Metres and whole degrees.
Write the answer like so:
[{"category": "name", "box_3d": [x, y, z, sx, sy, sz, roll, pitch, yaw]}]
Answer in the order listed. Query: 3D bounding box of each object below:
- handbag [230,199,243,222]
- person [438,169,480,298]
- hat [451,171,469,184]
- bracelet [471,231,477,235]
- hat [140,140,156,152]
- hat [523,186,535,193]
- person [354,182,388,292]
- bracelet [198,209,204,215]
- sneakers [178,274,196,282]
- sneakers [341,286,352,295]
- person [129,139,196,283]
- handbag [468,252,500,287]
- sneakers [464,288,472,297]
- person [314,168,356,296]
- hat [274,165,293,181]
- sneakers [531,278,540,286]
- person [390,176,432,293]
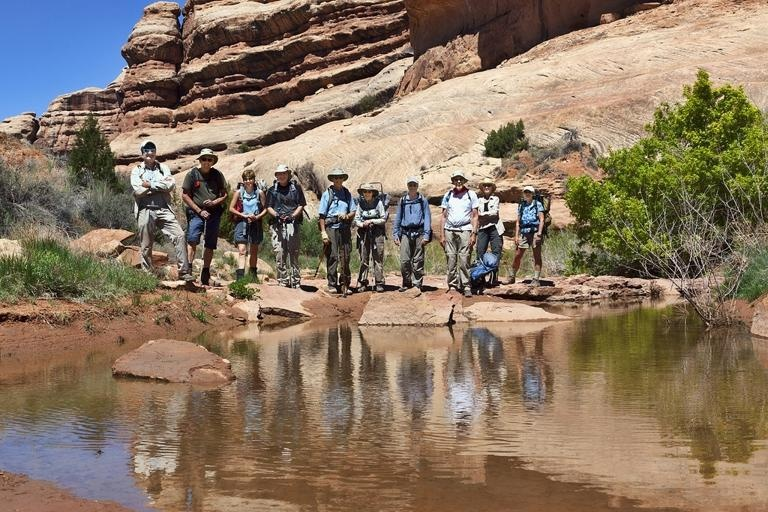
[{"category": "handbag", "box_3d": [-3.085, -1.029, 18.555, 0.260, 0.668, 0.680, 0, -5, -12]}, {"category": "person", "box_3d": [1.533, -0.443, 17.670, 0.713, 2.460, 0.901, -1, -5, 4]}, {"category": "hat", "box_3d": [1.495, -1.615, 17.643, 0.266, 0.310, 0.629, -1, -5, 3]}, {"category": "bracelet", "box_3d": [1.784, -0.452, 17.285, 0.057, 0.089, 0.184, -2, -6, 15]}, {"category": "hat", "box_3d": [-4.362, -2.035, 16.487, 0.254, 0.203, 0.382, -1, -33, -23]}, {"category": "hat", "box_3d": [3.180, -1.472, 19.251, 0.206, 0.209, 0.501, -2, -6, 15]}, {"category": "person", "box_3d": [-0.270, -0.387, 18.373, 0.667, 2.293, 1.132, 0, -5, -1]}, {"category": "bracelet", "box_3d": [-3.460, -0.849, 16.809, 0.072, 0.060, 0.077, 1, -7, 8]}, {"category": "sneakers", "box_3d": [-3.781, 0.431, 17.017, 0.296, 0.146, 0.144, -3, 1, 18]}, {"category": "sneakers", "box_3d": [-0.762, 0.747, 18.684, 0.129, 0.200, 0.191, -5, -15, -6]}, {"category": "person", "box_3d": [-4.260, -0.901, 16.960, 1.047, 2.759, 1.514, 1, -5, -16]}, {"category": "handbag", "box_3d": [2.254, 0.372, 19.318, 0.357, 0.878, 0.557, 30, -18, -27]}, {"category": "sneakers", "box_3d": [1.698, 0.741, 17.863, 0.150, 0.154, 0.343, 1, 4, 6]}, {"category": "person", "box_3d": [-0.942, -0.499, 18.370, 0.739, 2.561, 1.220, 0, -5, -3]}, {"category": "hat", "box_3d": [-2.037, -1.665, 18.037, 0.267, 0.369, 0.403, 0, -5, -12]}, {"category": "sneakers", "box_3d": [3.328, 0.590, 19.432, 0.176, 0.201, 0.563, -2, -6, 11]}, {"category": "person", "box_3d": [0.592, -0.399, 17.645, 0.703, 2.217, 1.086, 0, -5, -10]}]
